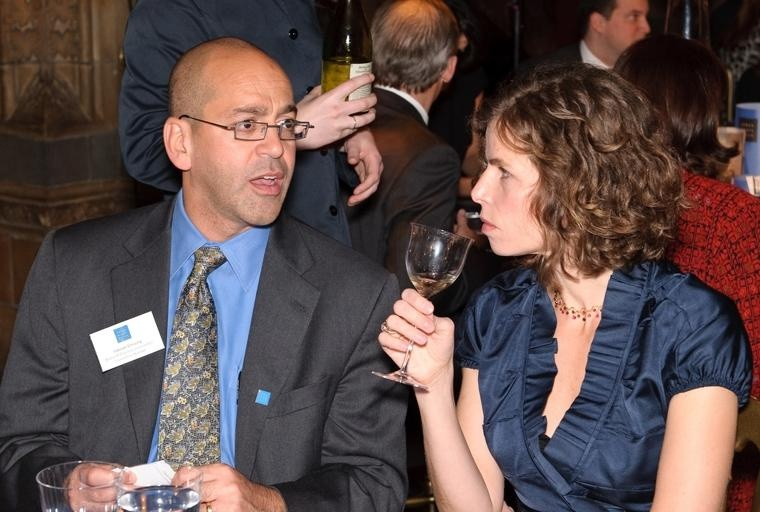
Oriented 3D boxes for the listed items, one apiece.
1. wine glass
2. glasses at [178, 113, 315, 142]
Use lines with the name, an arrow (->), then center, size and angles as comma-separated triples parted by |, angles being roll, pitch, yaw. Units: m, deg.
wine glass -> 0.125, 0.157, 2.156 | 0.303, 0.517, 0.223 | -1, 0, -1
glasses -> -0.468, -0.410, 2.246 | 0.374, 0.099, 0.070 | -1, 0, 2
